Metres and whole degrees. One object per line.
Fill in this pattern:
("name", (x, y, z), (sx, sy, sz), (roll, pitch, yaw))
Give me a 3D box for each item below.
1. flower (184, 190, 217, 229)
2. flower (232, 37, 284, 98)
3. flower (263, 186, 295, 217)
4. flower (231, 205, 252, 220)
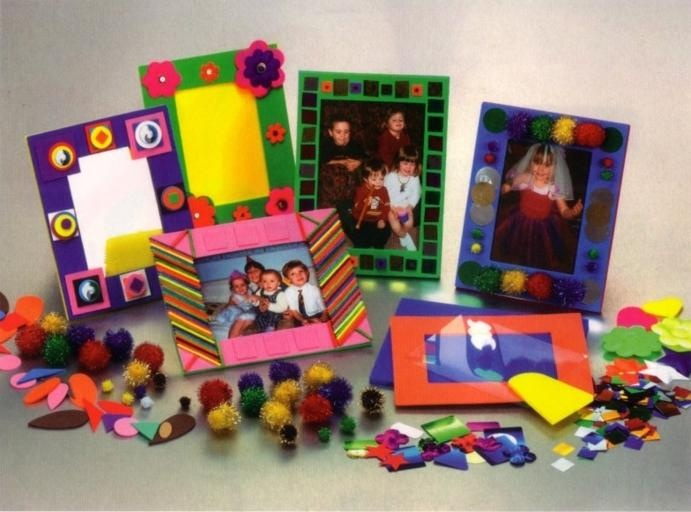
("flower", (-0.281, -0.085, 1.205), (0.057, 0.056, 0.015), (10, 4, -28))
("flower", (-0.153, -0.366, 1.235), (0.067, 0.105, 0.129), (7, 16, 32))
("flower", (-0.132, -0.111, 1.254), (0.060, 0.062, 0.024), (7, 7, -15))
("flower", (-0.208, -0.087, 1.243), (0.039, 0.029, 0.010), (-4, 14, -12))
